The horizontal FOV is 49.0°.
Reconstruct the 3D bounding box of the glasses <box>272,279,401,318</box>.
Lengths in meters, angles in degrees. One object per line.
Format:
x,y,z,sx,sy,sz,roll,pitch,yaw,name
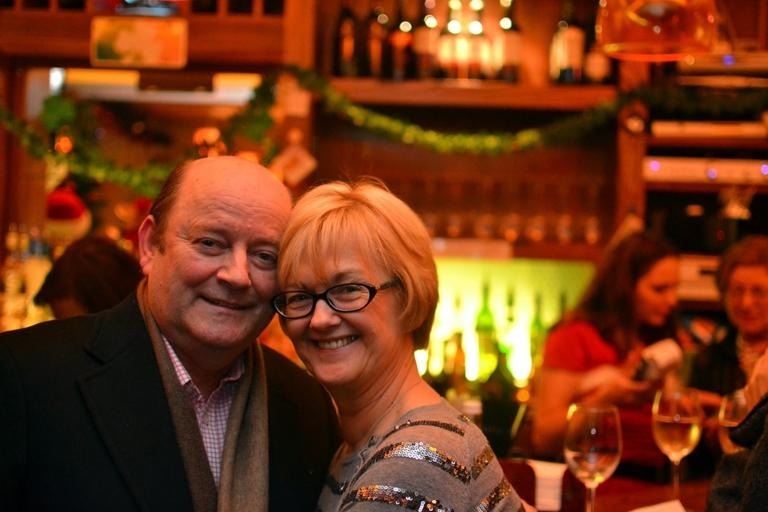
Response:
-0.140,0.136,2.598,0.379,0.132,0.066,2,7,1,glasses
